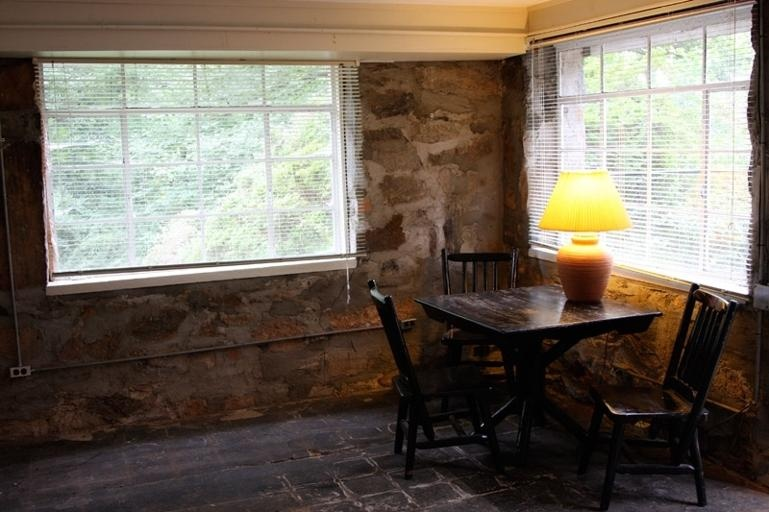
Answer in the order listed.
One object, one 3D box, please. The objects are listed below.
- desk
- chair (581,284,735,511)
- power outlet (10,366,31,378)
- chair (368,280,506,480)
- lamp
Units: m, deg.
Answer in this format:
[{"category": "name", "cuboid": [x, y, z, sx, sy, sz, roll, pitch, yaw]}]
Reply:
[{"category": "desk", "cuboid": [0.972, 0.577, 4.035, 1.462, 0.856, 1.239, -3, 5, -22]}, {"category": "chair", "cuboid": [1.644, 0.820, 3.531, 0.750, 1.187, 0.749, -1, 16, 9]}, {"category": "power outlet", "cuboid": [-2.684, 0.831, 4.294, 0.172, 0.089, 0.086, -1, 12, -29]}, {"category": "chair", "cuboid": [0.319, 0.748, 3.987, 0.768, 1.255, 0.877, -4, 16, -3]}, {"category": "lamp", "cuboid": [1.370, -0.129, 4.033, 0.390, 0.887, 0.438, -14, 19, -32]}]
